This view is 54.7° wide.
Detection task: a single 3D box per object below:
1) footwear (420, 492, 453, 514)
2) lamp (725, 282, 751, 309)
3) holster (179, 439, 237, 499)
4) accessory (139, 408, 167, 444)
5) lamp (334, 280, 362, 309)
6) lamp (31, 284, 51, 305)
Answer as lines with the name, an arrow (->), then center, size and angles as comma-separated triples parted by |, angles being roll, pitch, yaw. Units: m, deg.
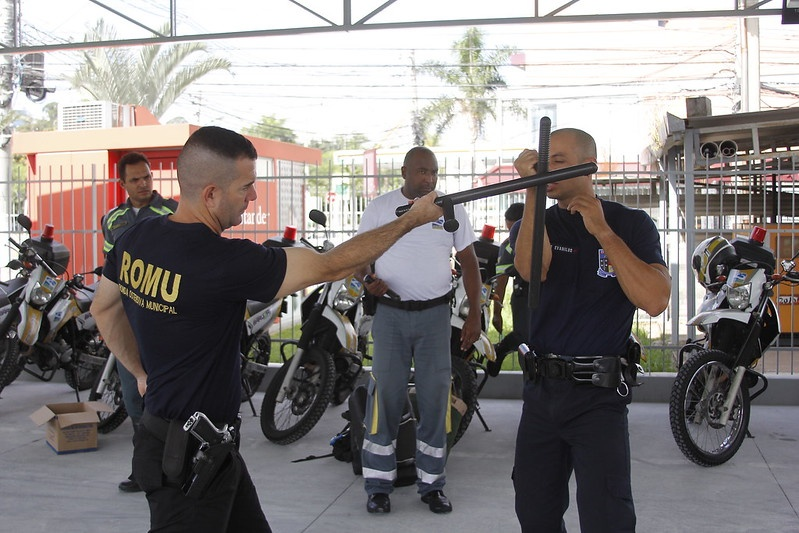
footwear -> 0.318, 1.942, 6.407 | 0.117, 0.112, 0.264 | -2, -2, -35
lamp -> 3.305, 0.277, 7.502 | 0.202, 0.215, 0.088 | -4, -10, 30
holster -> -1.084, 1.137, 4.422 | 0.300, 0.288, 0.128 | -29, 11, -7
accessory -> -1.424, 0.923, 4.487 | 0.151, 0.129, 0.106 | 39, 35, -7
lamp -> -0.514, 0.279, 7.825 | 0.203, 0.308, 0.341 | 17, 0, 12
lamp -> -3.928, 0.286, 8.432 | 0.156, 0.196, 0.091 | 5, -6, -17
